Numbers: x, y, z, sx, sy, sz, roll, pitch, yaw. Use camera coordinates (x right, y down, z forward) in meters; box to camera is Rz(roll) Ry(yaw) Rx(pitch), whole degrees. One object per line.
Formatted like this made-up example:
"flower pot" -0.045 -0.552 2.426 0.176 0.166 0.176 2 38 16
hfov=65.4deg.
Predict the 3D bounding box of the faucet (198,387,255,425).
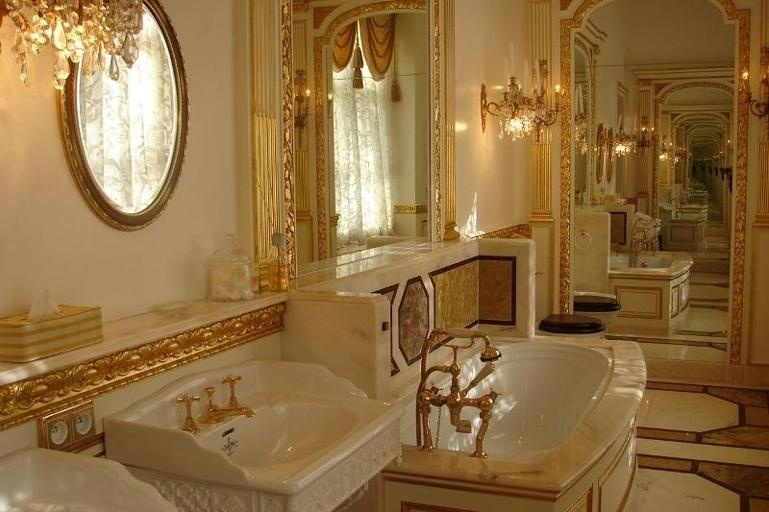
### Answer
"faucet" -0.583 0.537 2.180 0.199 0.109 0.122 -2 0 -21

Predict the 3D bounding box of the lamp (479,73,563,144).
"lamp" 1.310 -1.330 5.537 0.847 0.620 0.742 -2 7 -13

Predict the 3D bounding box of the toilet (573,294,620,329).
"toilet" 2.202 0.527 6.176 0.369 0.232 0.342 3 10 24

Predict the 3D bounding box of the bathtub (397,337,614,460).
"bathtub" 0.977 0.917 3.970 0.742 0.336 1.226 2 12 24

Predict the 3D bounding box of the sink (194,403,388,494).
"sink" -0.310 0.661 2.104 0.502 0.185 0.594 8 12 40

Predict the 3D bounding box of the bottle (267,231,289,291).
"bottle" -0.504 0.020 2.829 0.077 0.269 0.123 -2 9 -11
